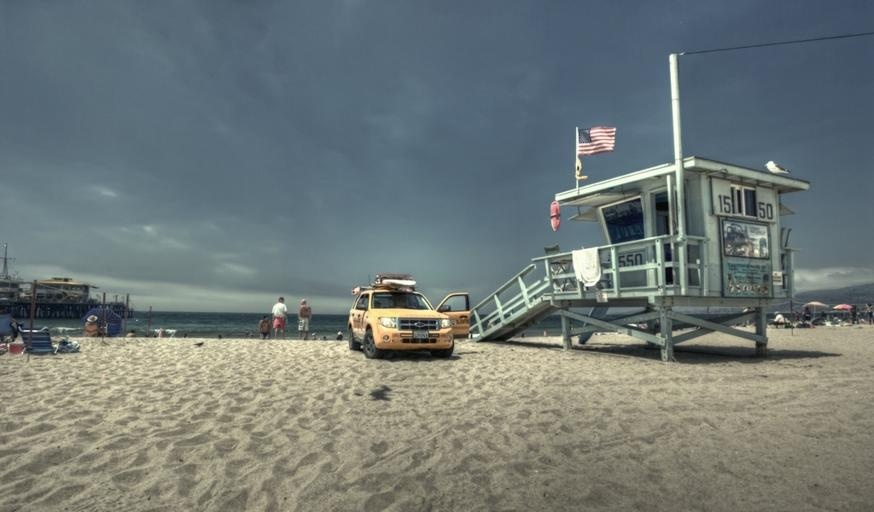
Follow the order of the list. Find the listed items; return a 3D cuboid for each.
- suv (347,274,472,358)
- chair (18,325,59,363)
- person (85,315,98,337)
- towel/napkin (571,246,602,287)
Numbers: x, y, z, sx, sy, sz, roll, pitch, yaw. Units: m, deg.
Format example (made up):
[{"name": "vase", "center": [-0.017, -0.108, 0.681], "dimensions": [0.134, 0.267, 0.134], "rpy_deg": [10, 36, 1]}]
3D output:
[{"name": "suv", "center": [-1.379, 2.067, 22.624], "dimensions": [2.426, 2.809, 3.144], "rpy_deg": [1, -3, -31]}, {"name": "chair", "center": [-14.078, 3.002, 22.984], "dimensions": [1.142, 0.946, 1.919], "rpy_deg": [5, -52, -18]}, {"name": "person", "center": [-17.848, 3.559, 33.834], "dimensions": [0.670, 1.024, 1.057], "rpy_deg": [1, -3, -29]}, {"name": "towel/napkin", "center": [5.237, 0.403, 22.567], "dimensions": [1.143, 1.409, 0.465], "rpy_deg": [-3, -2, 42]}]
